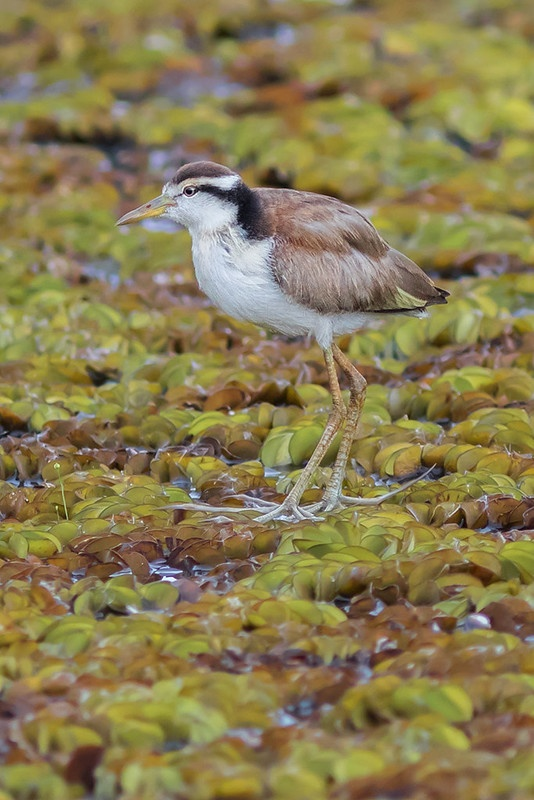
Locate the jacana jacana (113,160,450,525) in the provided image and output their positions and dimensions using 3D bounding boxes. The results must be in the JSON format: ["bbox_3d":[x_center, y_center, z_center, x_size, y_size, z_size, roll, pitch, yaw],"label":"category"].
[{"bbox_3d":[0.167,-0.315,3.264,1.019,1.012,1.298,-22,57,-16],"label":"jacana jacana"}]
